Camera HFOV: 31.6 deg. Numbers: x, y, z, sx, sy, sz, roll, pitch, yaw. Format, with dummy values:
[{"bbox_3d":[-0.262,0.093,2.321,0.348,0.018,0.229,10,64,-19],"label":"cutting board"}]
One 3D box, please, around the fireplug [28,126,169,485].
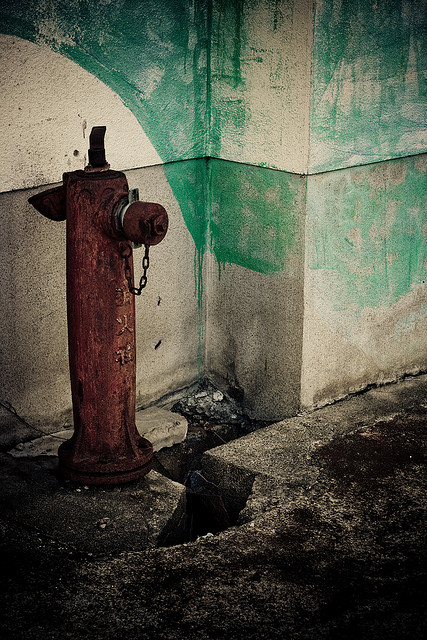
[{"bbox_3d":[-0.369,-0.030,2.790,0.550,1.319,0.321,5,7,36],"label":"fireplug"}]
